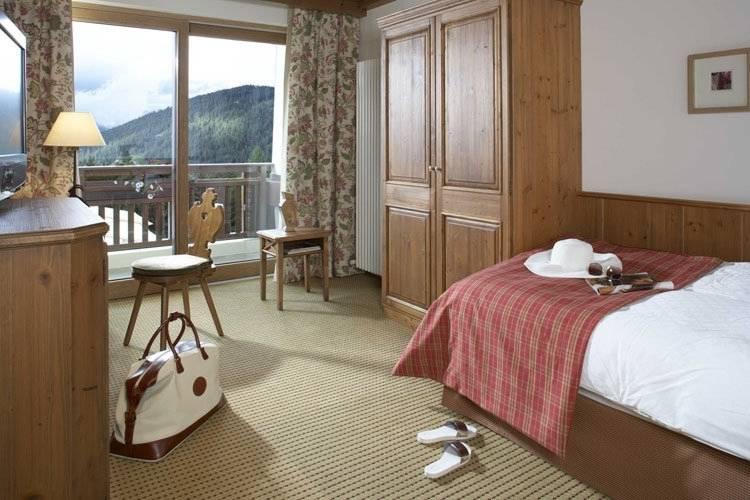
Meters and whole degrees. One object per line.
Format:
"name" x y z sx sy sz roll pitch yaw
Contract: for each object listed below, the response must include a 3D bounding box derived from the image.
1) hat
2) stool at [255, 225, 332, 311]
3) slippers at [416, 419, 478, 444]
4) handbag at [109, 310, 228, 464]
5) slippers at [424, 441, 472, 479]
"hat" 1.165 0.062 2.956 0.314 0.101 0.344 -12 14 -28
"stool" -0.780 0.119 4.882 0.742 0.928 0.610 -5 9 -30
"slippers" 0.387 0.999 2.707 0.253 0.075 0.141 -8 10 -19
"handbag" -1.193 0.807 2.852 0.286 0.577 0.633 4 9 15
"slippers" 0.377 1.067 2.521 0.237 0.076 0.119 -20 22 -41
